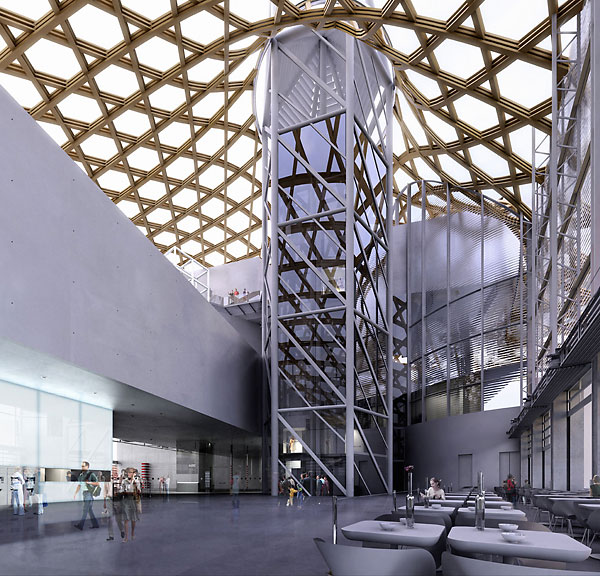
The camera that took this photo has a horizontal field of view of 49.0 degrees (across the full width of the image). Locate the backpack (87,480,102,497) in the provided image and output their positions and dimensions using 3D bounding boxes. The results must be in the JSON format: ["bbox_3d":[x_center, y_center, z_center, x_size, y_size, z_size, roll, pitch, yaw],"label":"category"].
[{"bbox_3d":[-4.975,4.772,15.841,0.297,0.489,1.184,2,-20,-14],"label":"backpack"}]
